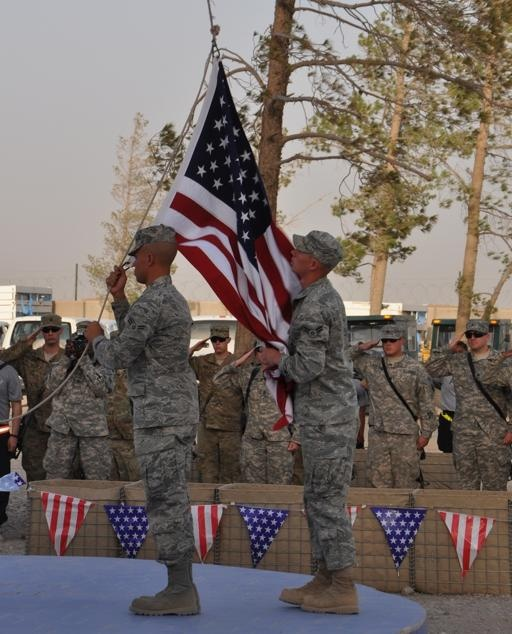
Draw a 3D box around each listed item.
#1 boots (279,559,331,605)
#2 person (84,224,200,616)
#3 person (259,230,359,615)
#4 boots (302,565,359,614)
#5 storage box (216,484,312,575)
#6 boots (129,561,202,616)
[{"bbox_3d":[0.263,1.374,4.298,0.297,0.220,0.115,17,-18,-19],"label":"boots"},{"bbox_3d":[-0.498,0.471,4.190,0.535,1.893,0.646,2,2,-33],"label":"person"},{"bbox_3d":[0.325,0.511,4.262,0.456,1.910,0.570,2,2,-22],"label":"person"},{"bbox_3d":[0.376,1.350,4.149,0.302,0.230,0.124,-8,-23,23],"label":"boots"},{"bbox_3d":[0.090,1.506,6.138,1.071,0.622,0.546,0,0,9],"label":"storage box"},{"bbox_3d":[-0.403,1.323,4.013,0.472,0.288,0.159,2,-11,0],"label":"boots"}]
